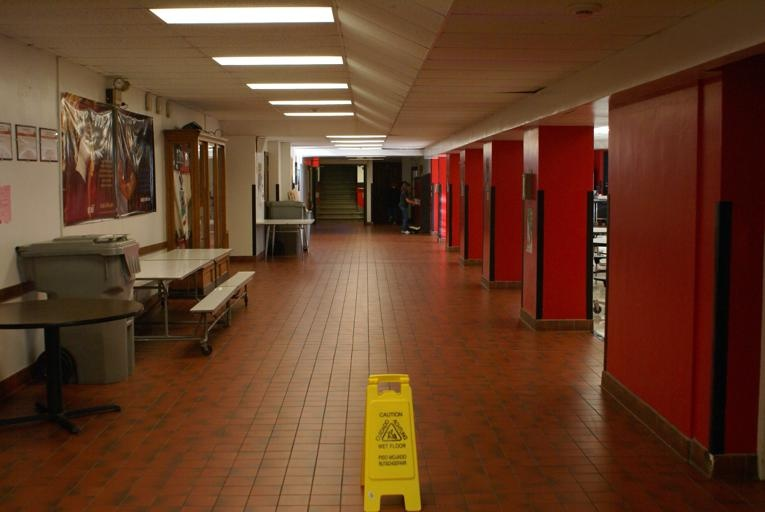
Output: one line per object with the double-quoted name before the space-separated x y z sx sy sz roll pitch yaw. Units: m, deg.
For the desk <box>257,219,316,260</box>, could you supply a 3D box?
"desk" -2.650 -0.404 14.674 1.189 0.688 1.157 0 5 -2
